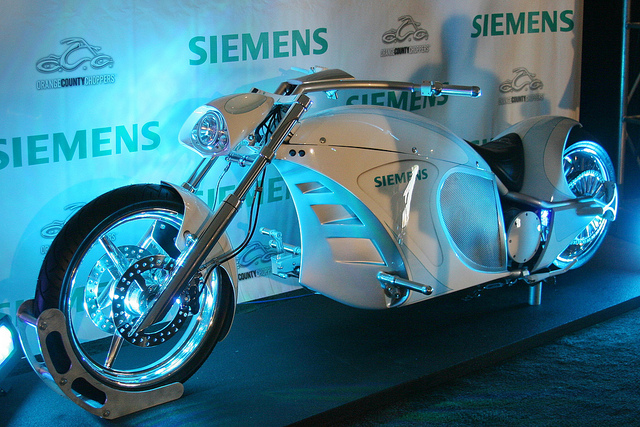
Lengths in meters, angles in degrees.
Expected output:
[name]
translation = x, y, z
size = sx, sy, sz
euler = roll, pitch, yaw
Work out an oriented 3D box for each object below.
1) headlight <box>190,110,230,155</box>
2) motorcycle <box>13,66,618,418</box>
[headlight]
translation = -0.506, -0.378, 2.574
size = 0.226, 0.207, 0.080
euler = 2, 13, 37
[motorcycle]
translation = 0.128, 0.001, 3.286
size = 3.442, 1.494, 1.554
euler = -12, 21, -30
